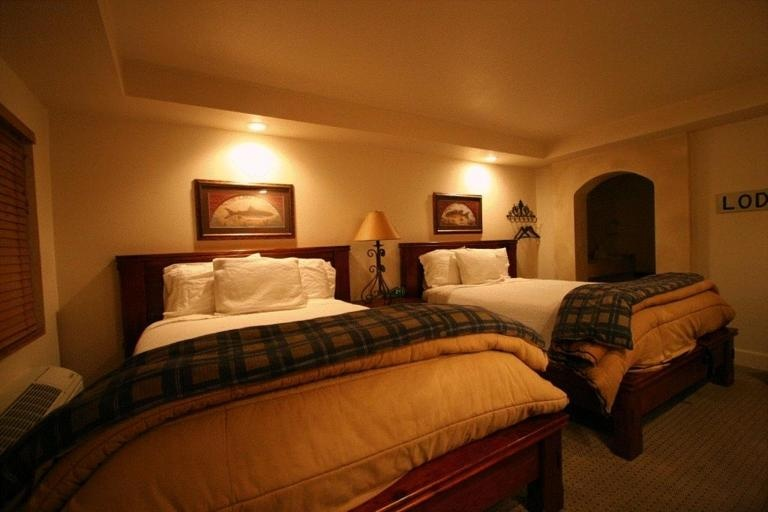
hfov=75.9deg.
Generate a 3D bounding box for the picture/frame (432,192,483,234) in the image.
[{"bbox_3d":[0.882,-0.528,6.046,0.568,0.345,0.042,0,-1,-35],"label":"picture/frame"}]

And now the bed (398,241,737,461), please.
[{"bbox_3d":[1.541,0.797,4.882,1.907,1.371,2.640,-4,3,-42],"label":"bed"}]
